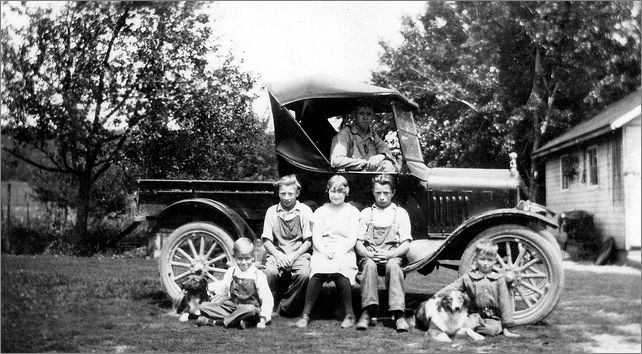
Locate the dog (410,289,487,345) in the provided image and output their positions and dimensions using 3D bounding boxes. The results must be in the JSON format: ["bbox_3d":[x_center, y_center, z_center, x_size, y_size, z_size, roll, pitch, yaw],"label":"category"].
[{"bbox_3d":[1.262,1.437,5.823,0.609,0.490,0.980,0,-2,-24],"label":"dog"}]

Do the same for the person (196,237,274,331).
[{"bbox_3d":[-0.904,1.133,5.979,0.781,0.924,0.756,-2,-9,26],"label":"person"}]

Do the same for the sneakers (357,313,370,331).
[{"bbox_3d":[0.446,1.499,5.816,0.146,0.182,0.131,0,-7,3],"label":"sneakers"}]

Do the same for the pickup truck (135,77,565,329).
[{"bbox_3d":[0.383,0.177,7.023,4.820,2.666,2.365,0,3,16],"label":"pickup truck"}]

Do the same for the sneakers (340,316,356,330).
[{"bbox_3d":[0.291,1.522,5.845,0.159,0.125,0.125,2,-7,-5],"label":"sneakers"}]

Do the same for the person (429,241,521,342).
[{"bbox_3d":[1.695,1.164,5.881,0.991,0.913,0.530,1,1,42],"label":"person"}]

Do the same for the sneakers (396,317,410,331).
[{"bbox_3d":[0.854,1.515,5.730,0.140,0.135,0.091,-7,-30,4],"label":"sneakers"}]

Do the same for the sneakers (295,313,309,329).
[{"bbox_3d":[-0.197,1.514,5.846,0.139,0.130,0.130,1,-7,-2],"label":"sneakers"}]

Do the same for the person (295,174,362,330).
[{"bbox_3d":[0.102,0.891,6.060,0.641,1.426,0.451,0,-7,5],"label":"person"}]

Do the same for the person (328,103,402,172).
[{"bbox_3d":[0.512,-0.402,6.576,0.763,0.970,0.995,1,4,-22],"label":"person"}]
